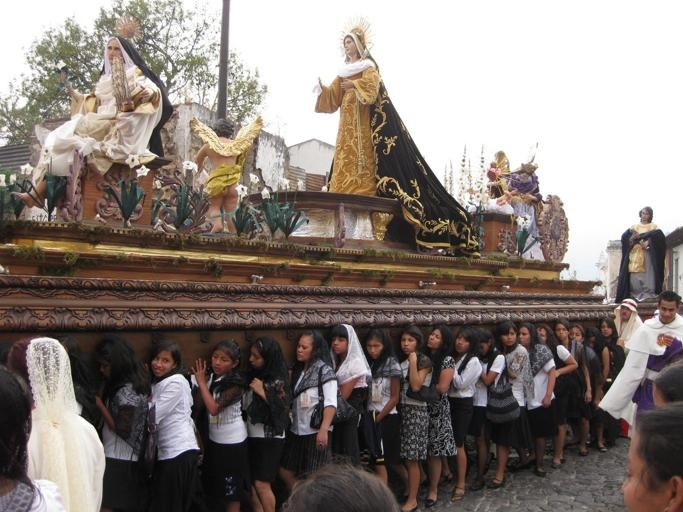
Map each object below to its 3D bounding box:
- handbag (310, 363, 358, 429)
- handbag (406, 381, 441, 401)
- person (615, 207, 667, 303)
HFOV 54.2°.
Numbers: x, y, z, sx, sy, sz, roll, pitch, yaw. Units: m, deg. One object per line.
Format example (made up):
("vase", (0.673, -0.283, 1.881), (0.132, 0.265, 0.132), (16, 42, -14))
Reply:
("handbag", (-0.084, 1.201, 5.692), (0.525, 0.634, 0.217), (-5, 1, -37))
("handbag", (0.786, 1.325, 6.417), (0.332, 0.164, 0.113), (2, -4, -16))
("person", (7.024, -0.010, 15.722), (1.023, 2.180, 0.767), (-1, -4, 23))
